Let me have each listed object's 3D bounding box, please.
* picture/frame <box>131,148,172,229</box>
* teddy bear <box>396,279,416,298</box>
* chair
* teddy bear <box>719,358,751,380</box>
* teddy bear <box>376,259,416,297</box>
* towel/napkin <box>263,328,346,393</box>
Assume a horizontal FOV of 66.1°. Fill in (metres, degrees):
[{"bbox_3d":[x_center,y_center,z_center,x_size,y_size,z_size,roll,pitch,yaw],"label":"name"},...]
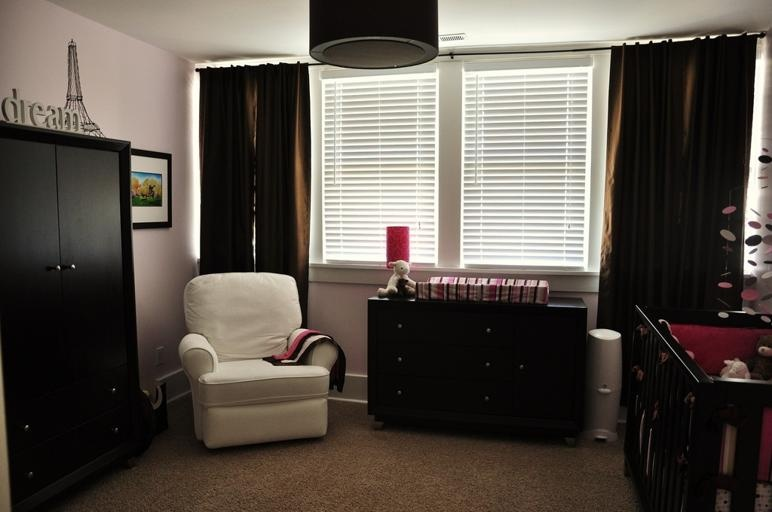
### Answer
[{"bbox_3d":[-2.016,-0.583,5.053,0.046,0.705,0.693,4,6,24],"label":"picture/frame"},{"bbox_3d":[0.164,0.261,4.931,0.150,0.147,0.125,0,6,1],"label":"teddy bear"},{"bbox_3d":[-1.085,0.778,4.740,1.221,1.338,1.363,-1,-1,-20],"label":"chair"},{"bbox_3d":[2.307,0.739,3.896,0.102,0.115,0.116,6,-19,23],"label":"teddy bear"},{"bbox_3d":[0.120,0.177,5.004,0.386,0.317,0.230,1,6,-22],"label":"teddy bear"},{"bbox_3d":[-0.613,0.771,4.824,0.547,0.495,0.556,4,-24,3],"label":"towel/napkin"}]
